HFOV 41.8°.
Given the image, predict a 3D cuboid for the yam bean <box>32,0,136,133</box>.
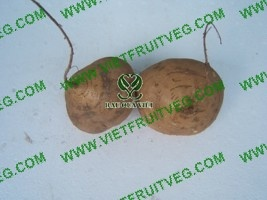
[{"bbox_3d":[-0.221,-0.084,2.197,0.432,0.296,0.599,3,87,1],"label":"yam bean"}]
